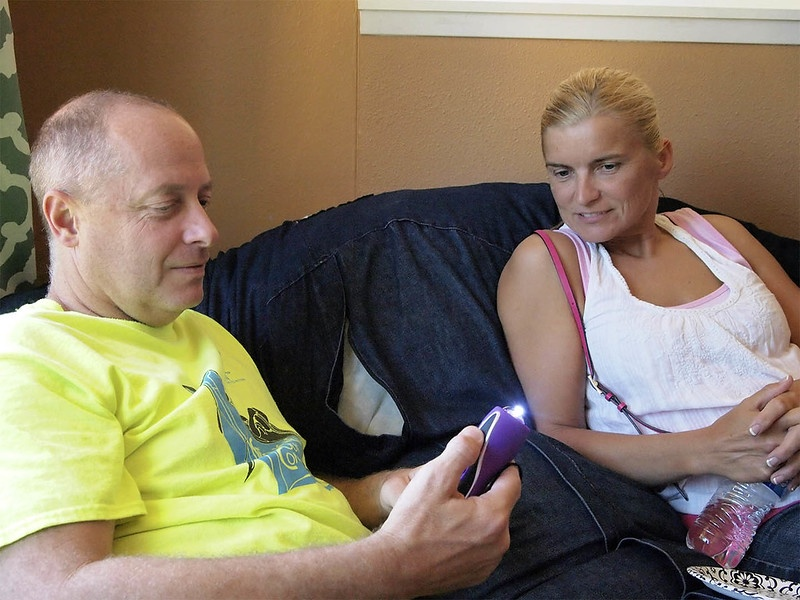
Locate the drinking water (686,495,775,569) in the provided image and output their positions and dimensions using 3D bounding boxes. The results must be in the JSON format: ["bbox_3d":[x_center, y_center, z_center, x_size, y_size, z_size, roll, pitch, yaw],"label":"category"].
[{"bbox_3d":[0.747,0.503,1.562,0.088,0.077,0.295,35,40,16],"label":"drinking water"}]

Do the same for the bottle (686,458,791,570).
[{"bbox_3d":[0.760,0.436,1.556,0.106,0.322,0.105,27,-7,4],"label":"bottle"}]

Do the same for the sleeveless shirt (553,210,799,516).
[{"bbox_3d":[0.646,0.169,1.841,0.490,0.656,0.253,-23,-19,-22],"label":"sleeveless shirt"}]

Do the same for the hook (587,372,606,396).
[{"bbox_3d":[0.479,0.208,1.701,0.020,0.019,0.070,-23,42,2],"label":"hook"}]
